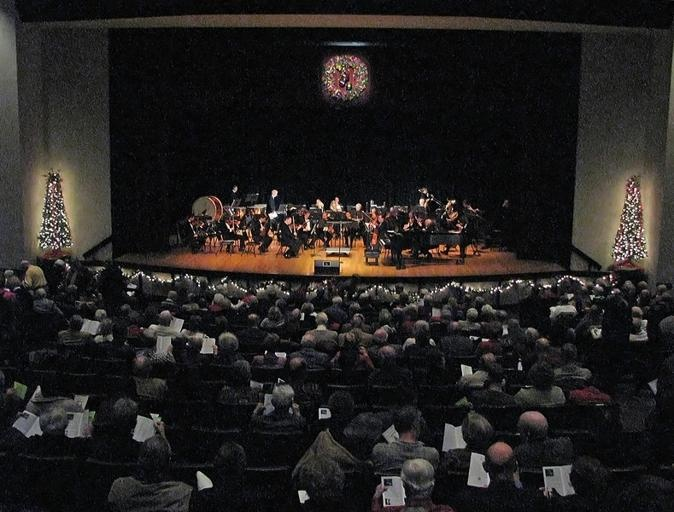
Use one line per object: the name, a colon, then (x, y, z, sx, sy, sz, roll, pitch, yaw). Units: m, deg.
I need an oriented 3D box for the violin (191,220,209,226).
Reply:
violin: (-3.975, -1.007, 15.843, 0.392, 0.135, 0.215, 3, 7, 32)

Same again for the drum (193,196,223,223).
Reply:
drum: (-4.102, -1.477, 17.318, 0.692, 0.762, 0.724, -24, 4, 12)

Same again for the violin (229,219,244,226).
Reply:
violin: (-2.956, -0.992, 16.138, 0.339, 0.155, 0.276, -1, 8, -28)
